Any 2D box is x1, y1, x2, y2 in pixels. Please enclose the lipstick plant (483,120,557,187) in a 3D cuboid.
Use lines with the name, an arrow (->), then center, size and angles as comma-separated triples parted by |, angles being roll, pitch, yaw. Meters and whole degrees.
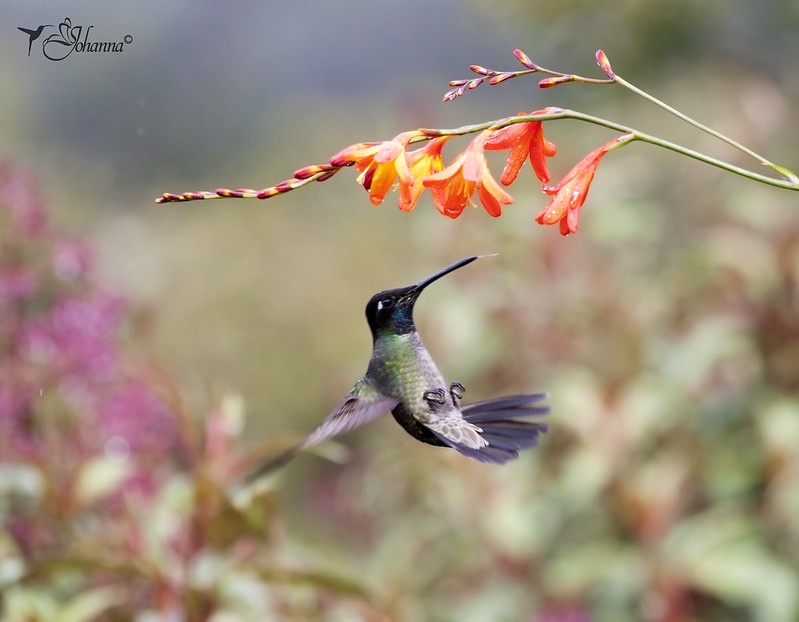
lipstick plant -> 0.259, -0.340, 2.030 | 0.113, 0.146, 0.110 | 1, 17, -7

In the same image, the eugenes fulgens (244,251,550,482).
eugenes fulgens -> 0.053, 0.166, 2.196 | 0.372, 0.702, 0.591 | -18, 13, 15

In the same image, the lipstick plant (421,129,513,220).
lipstick plant -> 0.118, -0.248, 1.936 | 0.149, 0.155, 0.109 | -14, -3, 2
